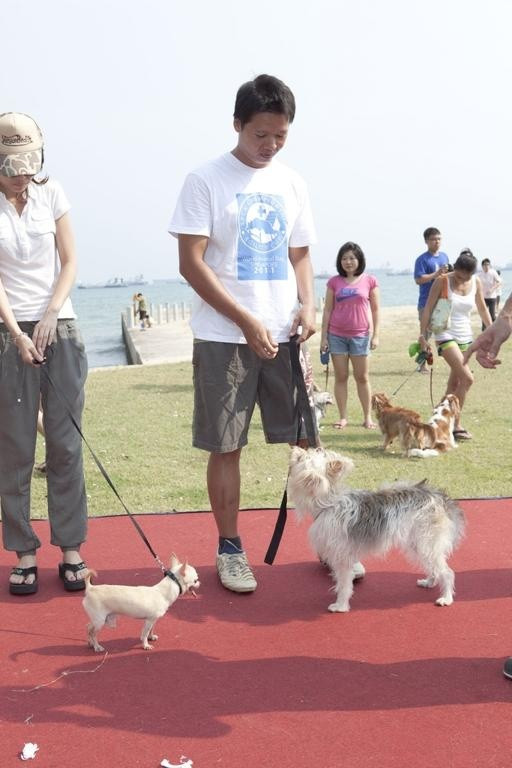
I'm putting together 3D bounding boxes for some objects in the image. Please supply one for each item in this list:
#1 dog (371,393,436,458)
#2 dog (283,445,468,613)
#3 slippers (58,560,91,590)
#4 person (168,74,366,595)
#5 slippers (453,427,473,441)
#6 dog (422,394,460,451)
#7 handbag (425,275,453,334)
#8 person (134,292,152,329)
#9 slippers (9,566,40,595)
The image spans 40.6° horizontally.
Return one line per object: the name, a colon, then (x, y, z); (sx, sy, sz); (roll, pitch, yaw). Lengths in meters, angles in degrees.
dog: (1.303, 0.386, 6.339); (0.260, 0.473, 0.868); (-5, 9, -24)
dog: (0.484, 0.620, 3.033); (0.816, 0.639, 0.374); (0, 1, 9)
slippers: (-0.827, 0.864, 3.143); (0.085, 0.056, 0.170); (0, 6, -24)
person: (-0.039, -0.205, 3.171); (0.657, 2.243, 0.476); (-1, 6, 0)
slippers: (1.977, 0.493, 6.630); (0.205, 0.096, 0.075); (3, 9, 18)
dog: (1.734, 0.340, 6.300); (0.242, 0.308, 0.626); (4, 29, 24)
handbag: (1.738, -0.746, 6.558); (0.200, 0.560, 0.260); (1, 7, 15)
person: (-4.509, -2.886, 27.447); (0.655, 1.392, 2.760); (-2, 6, -9)
slippers: (-1.034, 0.878, 3.059); (0.069, 0.063, 0.176); (1, -6, -5)
